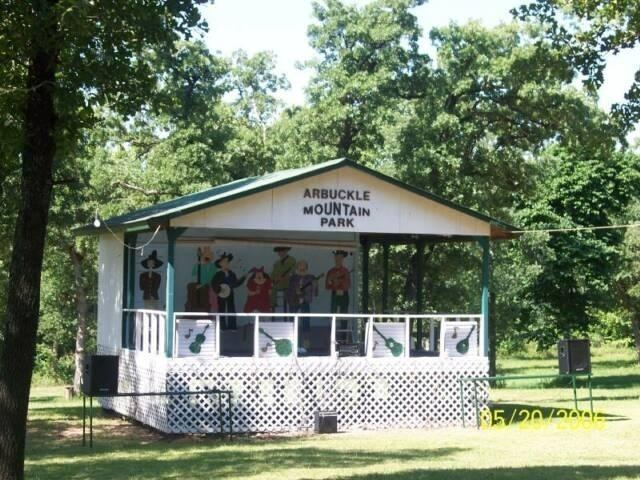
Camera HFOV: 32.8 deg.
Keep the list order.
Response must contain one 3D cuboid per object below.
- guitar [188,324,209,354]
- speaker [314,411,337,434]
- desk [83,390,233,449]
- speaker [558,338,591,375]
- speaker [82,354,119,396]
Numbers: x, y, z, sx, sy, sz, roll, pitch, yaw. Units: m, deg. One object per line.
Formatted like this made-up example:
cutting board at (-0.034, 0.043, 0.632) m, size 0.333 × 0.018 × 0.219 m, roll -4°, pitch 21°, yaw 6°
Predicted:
guitar at (-3.324, 2.807, 29.581) m, size 0.378 × 0.902 × 0.264 m, roll 28°, pitch -11°, yaw -11°
speaker at (0.147, 5.047, 29.706) m, size 0.615 × 0.608 × 0.330 m, roll 1°, pitch -8°, yaw -5°
desk at (-4.320, 5.035, 29.678) m, size 4.161 × 1.884 × 1.422 m, roll 1°, pitch -6°, yaw -8°
speaker at (7.354, 3.444, 31.587) m, size 0.938 × 1.064 × 0.904 m, roll 0°, pitch -8°, yaw 3°
speaker at (-5.664, 3.583, 28.269) m, size 0.877 × 1.466 × 1.046 m, roll 3°, pitch -7°, yaw -22°
